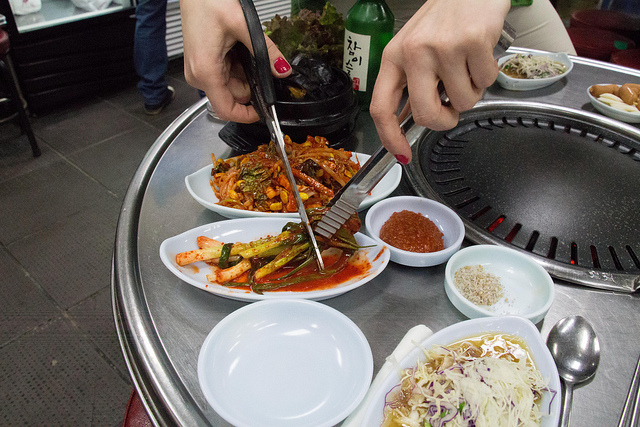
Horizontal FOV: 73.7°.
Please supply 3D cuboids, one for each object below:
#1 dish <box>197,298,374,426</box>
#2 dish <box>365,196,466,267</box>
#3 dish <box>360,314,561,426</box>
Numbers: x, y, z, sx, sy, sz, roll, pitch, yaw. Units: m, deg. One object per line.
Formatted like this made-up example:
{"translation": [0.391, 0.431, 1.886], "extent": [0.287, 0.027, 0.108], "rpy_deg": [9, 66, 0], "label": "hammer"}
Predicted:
{"translation": [-0.120, 0.531, 1.509], "extent": [0.597, 0.113, 0.447], "rpy_deg": [8, 52, 5], "label": "dish"}
{"translation": [0.403, 0.066, 1.847], "extent": [0.325, 0.133, 0.335], "rpy_deg": [14, 44, 18], "label": "dish"}
{"translation": [0.469, 0.560, 1.442], "extent": [0.657, 0.115, 0.370], "rpy_deg": [-6, 52, -6], "label": "dish"}
